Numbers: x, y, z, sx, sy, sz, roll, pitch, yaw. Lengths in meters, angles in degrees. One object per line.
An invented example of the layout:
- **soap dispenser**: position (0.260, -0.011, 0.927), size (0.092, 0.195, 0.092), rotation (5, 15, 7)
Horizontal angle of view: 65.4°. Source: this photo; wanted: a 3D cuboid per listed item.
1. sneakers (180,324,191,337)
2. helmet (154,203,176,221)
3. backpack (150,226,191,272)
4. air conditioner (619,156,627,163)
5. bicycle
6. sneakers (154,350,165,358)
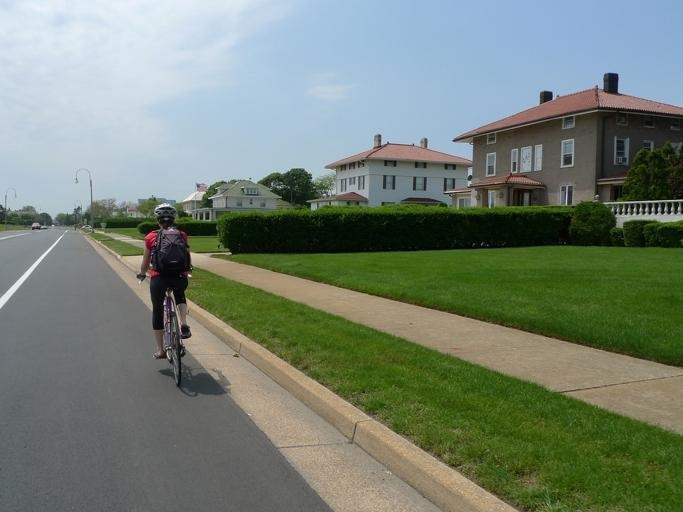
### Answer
- **sneakers**: position (-2.078, 1.013, 7.112), size (0.105, 0.189, 0.196), rotation (-2, 6, -14)
- **helmet**: position (-2.532, -0.653, 7.689), size (0.249, 0.307, 0.318), rotation (7, 18, 23)
- **backpack**: position (-2.327, -0.032, 7.368), size (0.503, 0.692, 0.369), rotation (-4, -13, -14)
- **air conditioner**: position (19.708, -6.643, 37.031), size (0.658, 0.513, 0.181), rotation (-3, 7, -23)
- **bicycle**: position (-2.326, 1.107, 7.340), size (0.731, 0.992, 1.623), rotation (-4, 9, -24)
- **sneakers**: position (-2.753, 1.482, 8.050), size (0.157, 0.113, 0.090), rotation (8, -5, -14)
